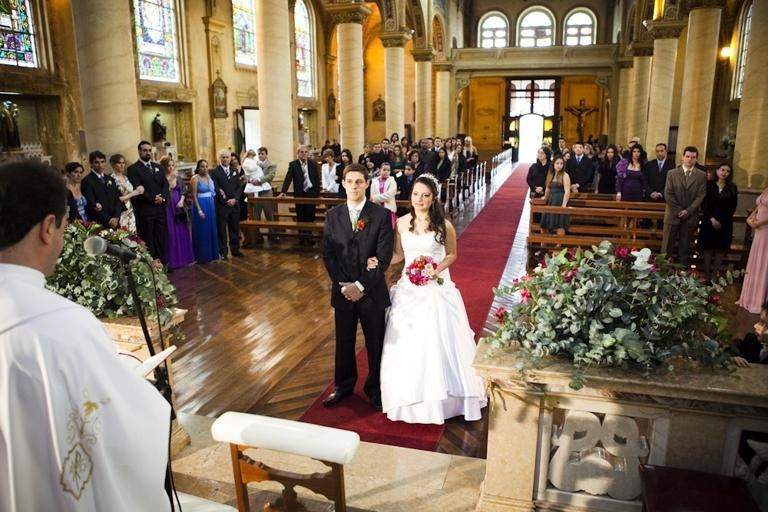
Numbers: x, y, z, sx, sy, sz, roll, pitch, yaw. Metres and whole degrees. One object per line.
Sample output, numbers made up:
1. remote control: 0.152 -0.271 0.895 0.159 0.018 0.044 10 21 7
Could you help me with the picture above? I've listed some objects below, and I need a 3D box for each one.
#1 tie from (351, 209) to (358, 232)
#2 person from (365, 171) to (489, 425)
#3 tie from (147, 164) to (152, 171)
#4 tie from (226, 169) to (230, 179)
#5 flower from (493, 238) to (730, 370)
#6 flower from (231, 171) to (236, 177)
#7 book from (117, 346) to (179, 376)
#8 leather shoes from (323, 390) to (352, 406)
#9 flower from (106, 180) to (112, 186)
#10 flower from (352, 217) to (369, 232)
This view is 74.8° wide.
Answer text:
1. tie: -0.265 -0.334 4.526 0.088 0.163 0.037 -1 -3 6
2. person: 0.420 0.353 4.456 0.927 2.084 0.866 -1 12 -1
3. tie: -3.681 -1.407 7.870 0.036 0.160 0.038 -29 25 -38
4. tie: -2.847 -1.517 9.149 0.053 0.148 0.113 7 14 32
5. flower: 1.257 0.300 2.800 0.939 0.512 0.895 1 3 7
6. flower: -2.761 -1.523 9.225 0.028 0.082 0.117 7 14 33
7. book: -1.128 0.501 2.384 0.337 0.121 0.308 5 -7 -28
8. leather shoes: -0.442 1.301 4.663 0.295 0.124 0.100 -8 -16 -44
9. flower: -3.972 -1.058 7.273 0.067 0.060 0.096 -42 23 -15
10. flower: -0.212 -0.280 4.448 0.115 0.117 0.058 -2 9 -9
